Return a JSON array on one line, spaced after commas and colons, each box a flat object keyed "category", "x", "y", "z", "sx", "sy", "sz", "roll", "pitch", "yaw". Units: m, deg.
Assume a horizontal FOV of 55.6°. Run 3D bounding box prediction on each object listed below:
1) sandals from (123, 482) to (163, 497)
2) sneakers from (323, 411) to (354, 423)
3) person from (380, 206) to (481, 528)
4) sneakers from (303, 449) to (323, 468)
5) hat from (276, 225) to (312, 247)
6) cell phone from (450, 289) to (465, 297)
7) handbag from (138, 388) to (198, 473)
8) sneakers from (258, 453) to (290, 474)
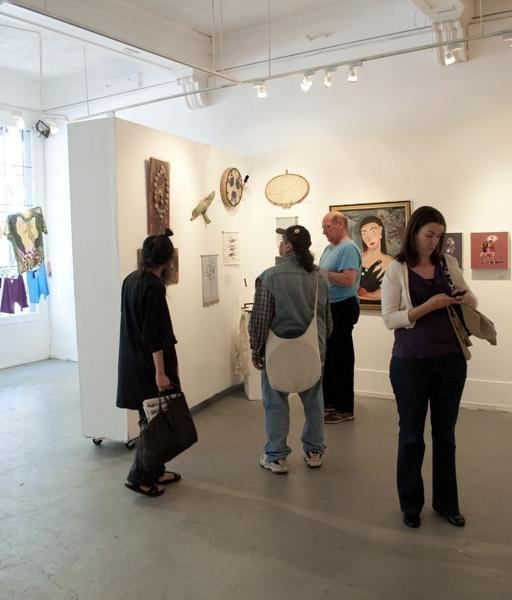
[{"category": "sandals", "x": -0.638, "y": 1.070, "z": 2.774, "sx": 0.151, "sy": 0.055, "sz": 0.097, "roll": 4, "pitch": -2, "yaw": 9}, {"category": "sneakers", "x": 0.679, "y": 0.957, "z": 4.039, "sx": 0.271, "sy": 0.143, "sz": 0.109, "roll": 6, "pitch": -10, "yaw": -26}, {"category": "person", "x": 0.814, "y": 0.335, "z": 2.298, "sx": 0.415, "sy": 1.524, "sz": 0.364, "roll": -1, "pitch": 3, "yaw": 15}, {"category": "sneakers", "x": 0.374, "y": 1.026, "z": 3.157, "sx": 0.057, "sy": 0.072, "sz": 0.143, "roll": 0, "pitch": 3, "yaw": 3}, {"category": "hat", "x": 0.223, "y": -0.398, "z": 2.932, "sx": 0.177, "sy": 0.104, "sz": 0.118, "roll": 23, "pitch": 26, "yaw": 24}, {"category": "cell phone", "x": 0.889, "y": -0.027, "z": 2.125, "sx": 0.058, "sy": 0.028, "sz": 0.033, "roll": 0, "pitch": 3, "yaw": 22}, {"category": "handbag", "x": -0.475, "y": 0.639, "z": 2.633, "sx": 0.144, "sy": 0.443, "sz": 0.373, "roll": 0, "pitch": 10, "yaw": 33}, {"category": "sneakers", "x": 0.117, "y": 1.036, "z": 3.096, "sx": 0.075, "sy": 0.102, "sz": 0.185, "roll": 1, "pitch": 8, "yaw": -29}]
